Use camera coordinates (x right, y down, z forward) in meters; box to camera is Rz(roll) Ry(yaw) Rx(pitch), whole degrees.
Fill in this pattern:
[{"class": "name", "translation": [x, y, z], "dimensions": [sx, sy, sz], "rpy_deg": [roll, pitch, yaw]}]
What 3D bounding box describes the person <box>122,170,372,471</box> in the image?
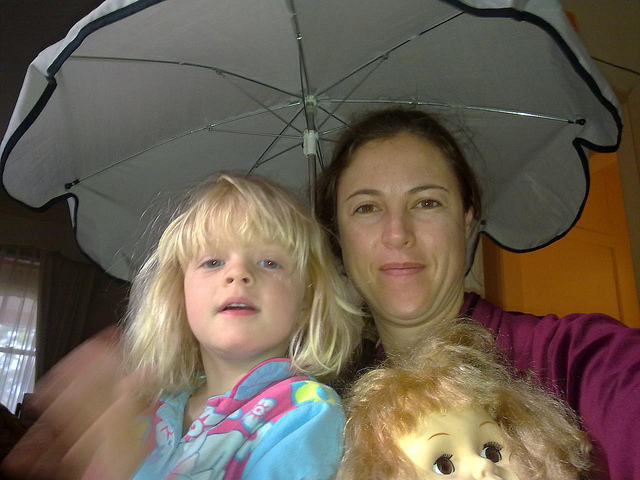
[{"class": "person", "translation": [-0.176, 0.232, 1.549], "dimensions": [0.585, 0.734, 0.391], "rpy_deg": [1, -42, -2]}]
